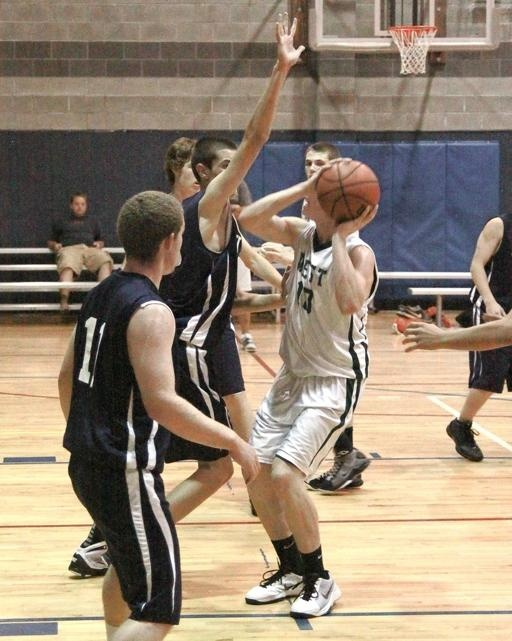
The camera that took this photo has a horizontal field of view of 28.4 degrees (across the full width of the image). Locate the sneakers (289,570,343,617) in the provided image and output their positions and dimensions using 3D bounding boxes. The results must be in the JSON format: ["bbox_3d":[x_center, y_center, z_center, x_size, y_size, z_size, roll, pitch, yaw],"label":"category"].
[{"bbox_3d":[0.211,0.956,3.558,0.099,0.091,0.218,-2,1,30],"label":"sneakers"}]

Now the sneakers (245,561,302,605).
[{"bbox_3d":[0.071,0.955,3.692,0.269,0.121,0.089,-4,2,-13],"label":"sneakers"}]

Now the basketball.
[{"bbox_3d":[0.281,-0.483,3.654,0.266,0.249,0.222,2,11,-3],"label":"basketball"}]

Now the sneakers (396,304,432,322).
[{"bbox_3d":[1.389,-0.072,8.920,0.401,0.145,0.133,5,26,-32],"label":"sneakers"}]

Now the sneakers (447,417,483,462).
[{"bbox_3d":[1.080,0.617,5.316,0.114,0.121,0.279,-12,42,-20],"label":"sneakers"}]

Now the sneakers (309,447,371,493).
[{"bbox_3d":[0.419,0.708,4.806,0.408,0.156,0.126,-8,7,-30],"label":"sneakers"}]
